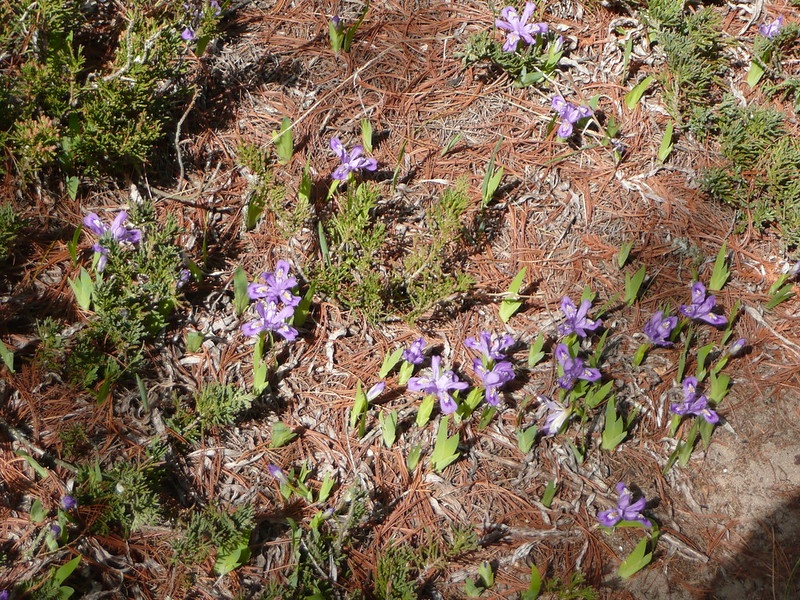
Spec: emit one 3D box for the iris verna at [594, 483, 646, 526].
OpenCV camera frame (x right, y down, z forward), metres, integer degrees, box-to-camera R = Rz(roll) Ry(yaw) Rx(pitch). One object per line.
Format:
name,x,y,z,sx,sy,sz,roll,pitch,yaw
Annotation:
iris verna,1.088,1.006,3.432,0.258,0.209,0.169,0,63,4
